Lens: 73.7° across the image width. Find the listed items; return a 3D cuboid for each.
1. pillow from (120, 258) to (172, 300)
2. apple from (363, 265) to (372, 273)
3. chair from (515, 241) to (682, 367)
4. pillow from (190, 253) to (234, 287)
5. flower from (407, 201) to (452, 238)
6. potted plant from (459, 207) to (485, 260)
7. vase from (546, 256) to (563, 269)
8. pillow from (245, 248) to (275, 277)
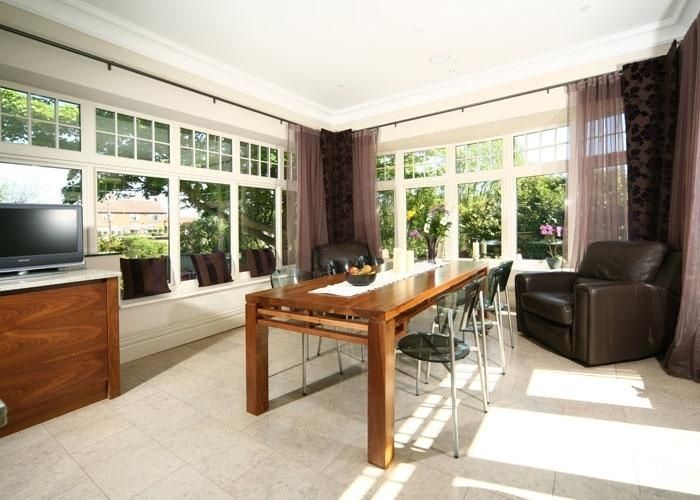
[{"bbox_3d":[-2.270,0.319,5.118,0.063,0.402,0.455,-12,-6,38],"label":"pillow"},{"bbox_3d":[0.138,0.158,3.997,0.064,0.035,0.065,5,12,36],"label":"apple"},{"bbox_3d":[2.623,0.505,4.988,1.335,1.170,0.932,-3,6,-6],"label":"chair"},{"bbox_3d":[-1.715,0.225,5.755,0.111,0.384,0.423,-20,-4,31],"label":"pillow"},{"bbox_3d":[0.852,-0.315,5.118,0.598,0.476,0.673,0,2,3],"label":"flower"},{"bbox_3d":[1.717,-0.260,6.659,0.494,0.615,0.315,0,2,32],"label":"potted plant"},{"bbox_3d":[2.613,0.154,5.983,0.151,0.112,0.153,-2,-1,15],"label":"vase"},{"bbox_3d":[-1.242,0.161,6.375,0.101,0.398,0.430,-9,6,42],"label":"pillow"}]
